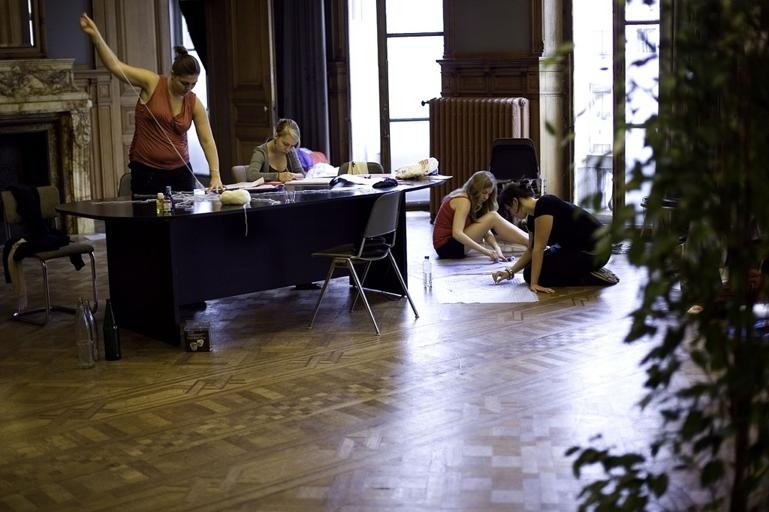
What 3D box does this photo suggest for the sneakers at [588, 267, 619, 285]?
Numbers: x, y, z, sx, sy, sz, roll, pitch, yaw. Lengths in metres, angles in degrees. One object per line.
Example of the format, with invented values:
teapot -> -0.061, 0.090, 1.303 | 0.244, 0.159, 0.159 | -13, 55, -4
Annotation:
sneakers -> 2.079, 0.202, 5.823 | 0.171, 0.072, 0.240 | -11, 20, -41

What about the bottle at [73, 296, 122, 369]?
bottle -> -2.032, 0.502, 4.349 | 0.264, 0.450, 0.335 | -6, 14, -18

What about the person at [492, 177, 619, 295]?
person -> 1.613, -0.195, 5.993 | 1.170, 1.039, 0.791 | -1, 12, 13

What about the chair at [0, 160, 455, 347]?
chair -> -1.198, 0.021, 5.078 | 2.542, 1.060, 0.993 | -9, 16, -29

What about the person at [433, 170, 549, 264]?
person -> 1.161, -0.464, 6.828 | 1.223, 0.923, 0.642 | 2, 12, 21
